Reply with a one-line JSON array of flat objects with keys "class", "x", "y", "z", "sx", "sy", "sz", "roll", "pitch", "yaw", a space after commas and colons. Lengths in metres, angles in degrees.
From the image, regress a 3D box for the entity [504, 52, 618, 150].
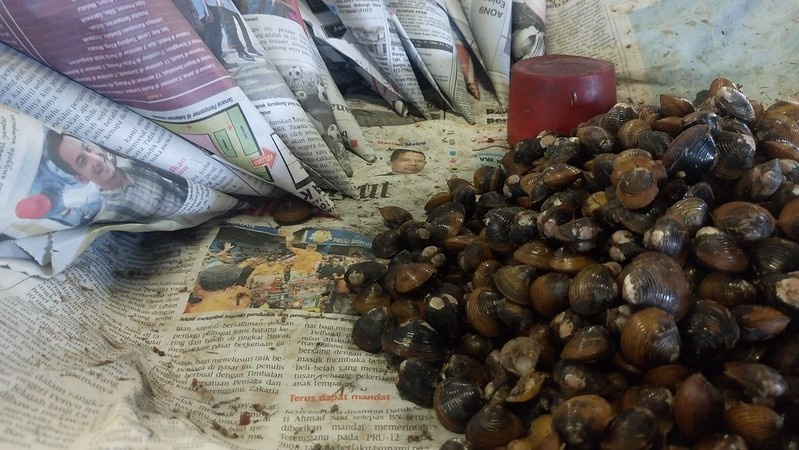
[{"class": "entity", "x": 0.717, "y": -0.580, "z": 2.195, "sx": 0.475, "sy": 0.314, "sz": 0.447, "roll": 4, "pitch": 28, "yaw": 16}]
